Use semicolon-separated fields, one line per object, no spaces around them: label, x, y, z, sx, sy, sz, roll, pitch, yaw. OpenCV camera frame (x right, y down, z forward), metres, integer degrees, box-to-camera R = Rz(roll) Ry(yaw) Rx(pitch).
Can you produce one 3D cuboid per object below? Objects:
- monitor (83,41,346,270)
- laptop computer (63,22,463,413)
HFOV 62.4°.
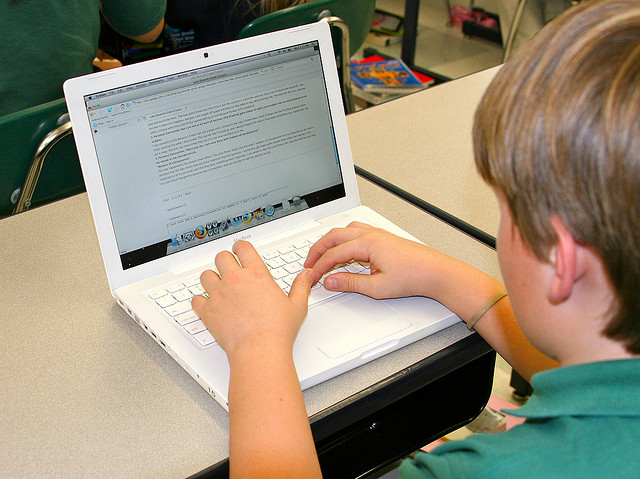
monitor;-0.176;-0.137;0.894;0.372;0.249;0.007;-20;17;-23
laptop computer;-0.057;-0.073;0.830;0.550;0.348;0.487;-19;38;-31
